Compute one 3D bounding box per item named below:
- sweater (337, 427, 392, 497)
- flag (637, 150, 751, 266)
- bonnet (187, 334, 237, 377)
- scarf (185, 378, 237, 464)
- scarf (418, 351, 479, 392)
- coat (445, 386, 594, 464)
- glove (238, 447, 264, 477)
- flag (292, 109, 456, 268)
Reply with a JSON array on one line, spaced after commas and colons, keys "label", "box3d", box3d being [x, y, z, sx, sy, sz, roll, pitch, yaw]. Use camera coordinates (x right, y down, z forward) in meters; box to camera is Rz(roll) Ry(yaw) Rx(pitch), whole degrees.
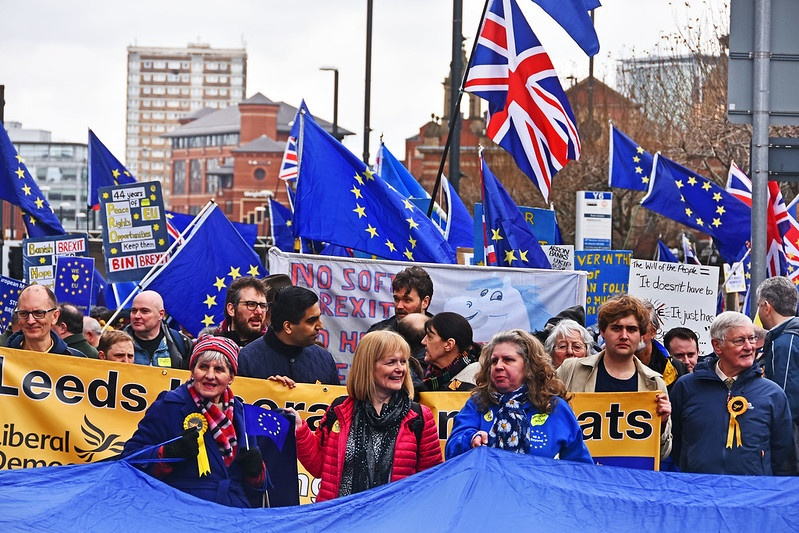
[{"label": "sweater", "box3d": [-0.348, 1.981, 18.321, 0.571, 0.784, 0.083, 11, -10, -3]}, {"label": "flag", "box3d": [5.073, -1.054, 31.813, 2.669, 1.495, 0.605, 23, -18, -14]}, {"label": "bonnet", "box3d": [-1.884, 0.905, 18.520, 0.470, 0.379, 0.435, 0, -2, -8]}, {"label": "scarf", "box3d": [-1.826, 1.510, 18.390, 0.570, 0.746, 0.214, -18, -15, -46]}, {"label": "scarf", "box3d": [0.554, 1.162, 19.593, 0.392, 0.514, 0.224, 10, -22, 39]}, {"label": "coat", "box3d": [1.196, 1.714, 18.564, 1.045, 1.123, 0.856, -17, -25, 24]}, {"label": "glove", "box3d": [-1.487, 1.946, 18.384, 0.224, 0.278, 0.282, -2, 2, 0]}, {"label": "flag", "box3d": [-0.438, -0.967, 22.913, 1.798, 1.879, 0.543, 0, -2, -5]}]
